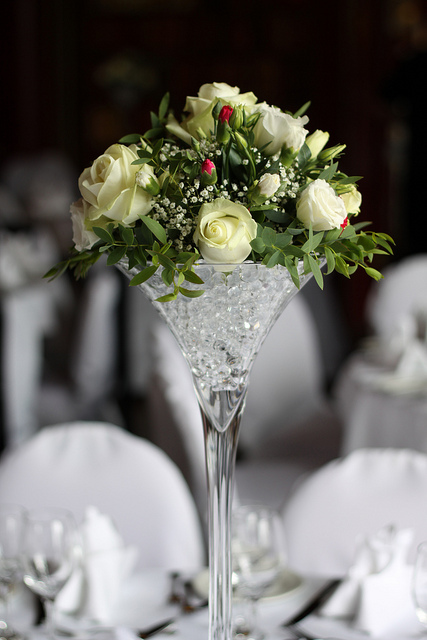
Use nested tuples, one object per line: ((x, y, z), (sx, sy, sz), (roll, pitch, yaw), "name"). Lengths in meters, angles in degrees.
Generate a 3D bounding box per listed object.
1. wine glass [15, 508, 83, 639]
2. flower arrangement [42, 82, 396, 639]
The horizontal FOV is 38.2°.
((-0.194, 0.285, 0.728), (0.075, 0.134, 0.140), (-6, 36, -14), "wine glass")
((0.028, 0.027, 0.742), (0.338, 0.567, 0.407), (-22, 43, -32), "flower arrangement")
